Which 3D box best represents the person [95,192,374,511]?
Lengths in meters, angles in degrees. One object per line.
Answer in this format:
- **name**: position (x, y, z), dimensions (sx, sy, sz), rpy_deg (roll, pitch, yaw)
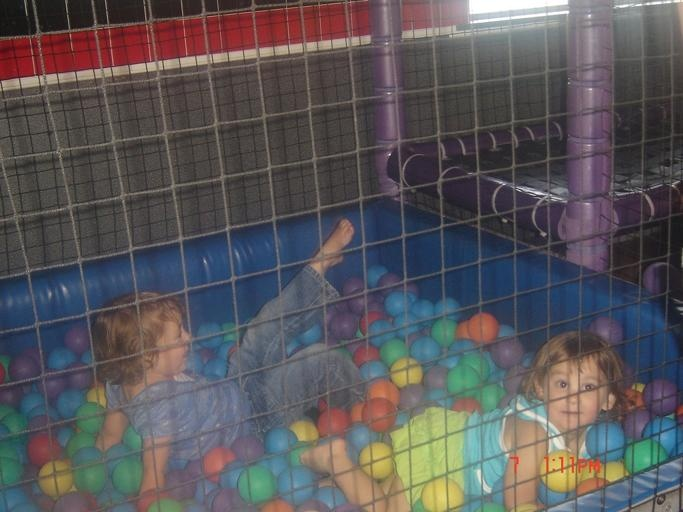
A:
- **person**: position (-0.449, 0.460, 3.923), dimensions (1.255, 0.451, 0.855), rpy_deg (-26, -35, -24)
